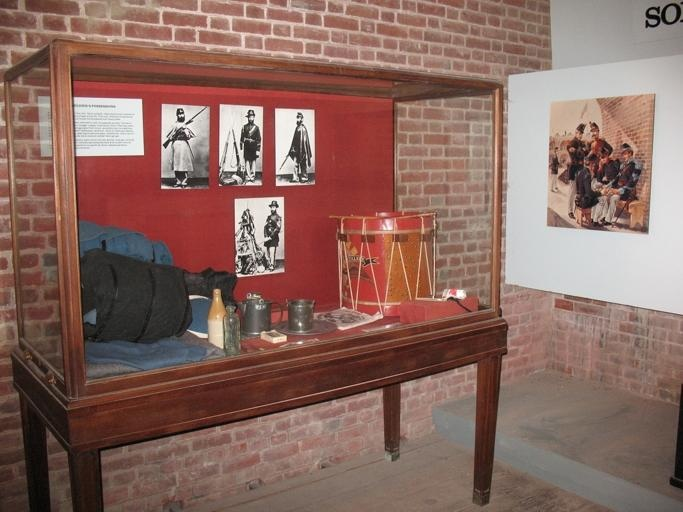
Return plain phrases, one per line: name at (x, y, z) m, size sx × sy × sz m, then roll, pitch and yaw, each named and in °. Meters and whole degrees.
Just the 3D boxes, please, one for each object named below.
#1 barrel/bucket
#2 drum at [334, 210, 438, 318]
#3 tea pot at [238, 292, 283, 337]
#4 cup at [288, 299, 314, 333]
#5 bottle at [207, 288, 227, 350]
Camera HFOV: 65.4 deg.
barrel/bucket at (0.169, 0.021, 2.635) m, size 0.493 × 0.470 × 0.495 m, roll -1°, pitch 2°, yaw 0°
drum at (0.243, 0.044, 2.741) m, size 0.512 × 0.464 × 0.527 m, roll 0°, pitch 4°, yaw 25°
tea pot at (-0.368, 0.262, 2.335) m, size 0.167 × 0.159 × 0.149 m, roll -5°, pitch -7°, yaw 21°
cup at (-0.193, 0.273, 2.414) m, size 0.154 × 0.119 × 0.119 m, roll 5°, pitch 8°, yaw 36°
bottle at (-0.514, 0.258, 2.195) m, size 0.073 × 0.213 × 0.146 m, roll -4°, pitch 9°, yaw -8°
